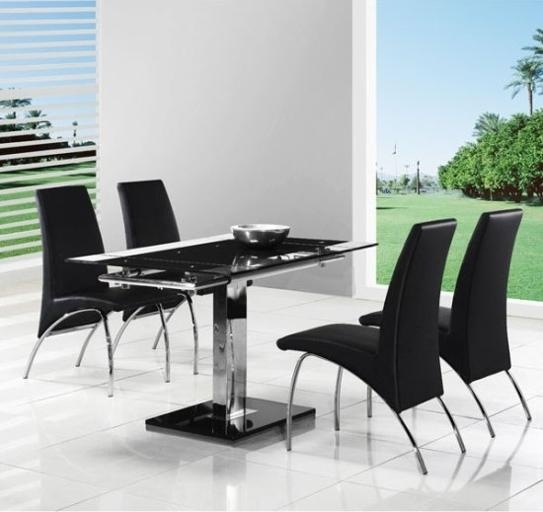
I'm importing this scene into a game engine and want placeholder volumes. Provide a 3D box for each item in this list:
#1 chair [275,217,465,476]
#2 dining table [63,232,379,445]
[{"bbox_3d":[0.368,0.307,1.931,0.522,0.878,0.389,1,2,36],"label":"chair"},{"bbox_3d":[-0.195,0.368,2.353,0.876,0.745,1.274,-2,-2,32],"label":"dining table"}]
